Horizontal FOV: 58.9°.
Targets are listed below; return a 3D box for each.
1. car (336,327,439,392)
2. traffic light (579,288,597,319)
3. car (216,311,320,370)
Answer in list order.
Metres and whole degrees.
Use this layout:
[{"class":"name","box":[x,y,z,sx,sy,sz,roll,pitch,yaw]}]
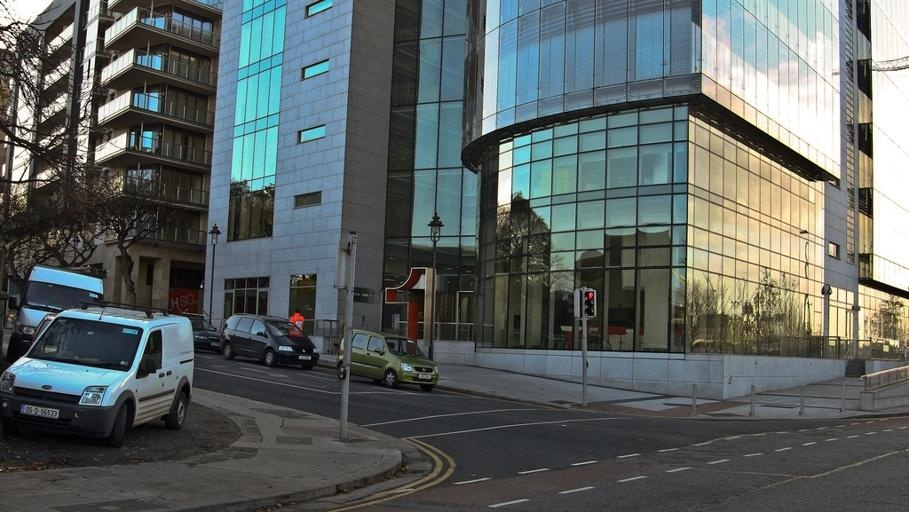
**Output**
[{"class":"car","box":[-3.360,5.266,41.650,2.970,2.460,5.545,9,-5,-40]},{"class":"traffic light","box":[6.409,2.224,38.952,0.773,1.402,0.741,3,4,-6]},{"class":"car","box":[-10.423,4.741,45.403,6.358,2.501,3.169,1,-4,44]}]
